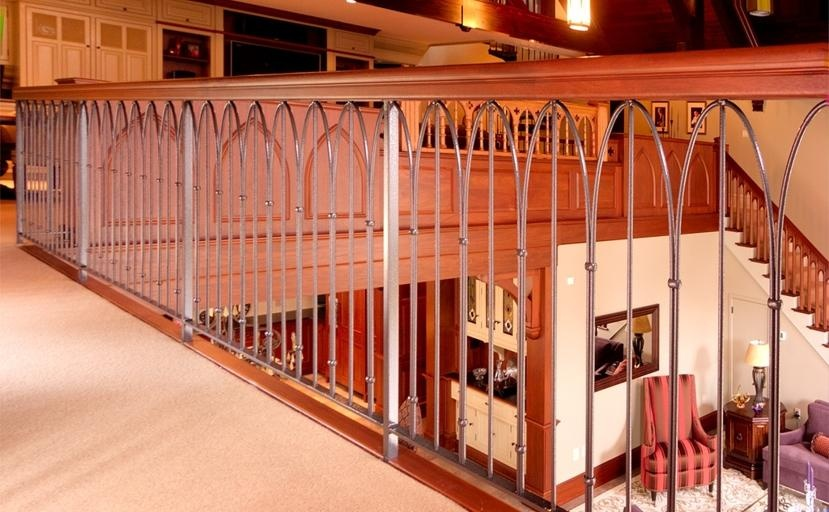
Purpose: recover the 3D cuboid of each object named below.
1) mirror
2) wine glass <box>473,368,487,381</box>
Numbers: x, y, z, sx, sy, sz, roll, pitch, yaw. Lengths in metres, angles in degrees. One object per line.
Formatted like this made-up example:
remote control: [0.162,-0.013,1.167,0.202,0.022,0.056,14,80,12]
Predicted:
mirror: [2.582,1.102,7.779,1.697,1.168,0.071,-2,1,-34]
wine glass: [0.927,1.656,8.901,0.184,0.132,0.179,-16,22,-32]
